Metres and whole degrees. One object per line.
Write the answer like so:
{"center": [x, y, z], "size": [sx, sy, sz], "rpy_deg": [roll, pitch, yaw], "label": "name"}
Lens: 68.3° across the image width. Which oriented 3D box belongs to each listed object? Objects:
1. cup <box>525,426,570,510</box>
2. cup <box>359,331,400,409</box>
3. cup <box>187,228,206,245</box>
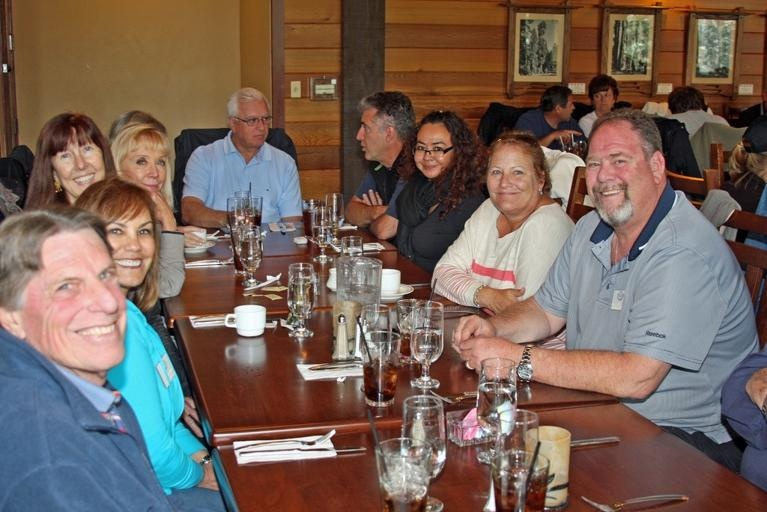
{"center": [0.382, 0.491, 1.312], "size": [0.097, 0.164, 0.201], "rpy_deg": [0, 6, 17], "label": "cup"}
{"center": [-0.012, 0.349, 1.733], "size": [0.125, 0.206, 0.129], "rpy_deg": [-2, -2, 0], "label": "cup"}
{"center": [-1.116, -0.117, 3.401], "size": [0.105, 0.100, 0.068], "rpy_deg": [-1, 8, -15], "label": "cup"}
